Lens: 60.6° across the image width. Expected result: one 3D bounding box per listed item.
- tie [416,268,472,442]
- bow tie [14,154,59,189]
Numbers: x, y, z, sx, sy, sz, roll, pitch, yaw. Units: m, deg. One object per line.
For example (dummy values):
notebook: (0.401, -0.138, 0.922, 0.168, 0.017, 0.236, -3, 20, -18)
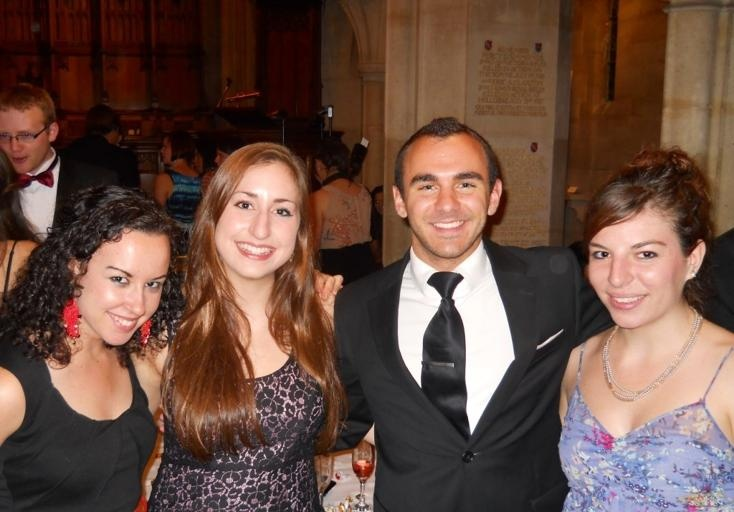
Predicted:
tie: (0.314, 0.389, 2.537, 0.191, 0.618, 0.250, 0, 9, 5)
bow tie: (-1.995, -0.489, 3.745, 0.191, 0.067, 0.282, -4, -14, -21)
